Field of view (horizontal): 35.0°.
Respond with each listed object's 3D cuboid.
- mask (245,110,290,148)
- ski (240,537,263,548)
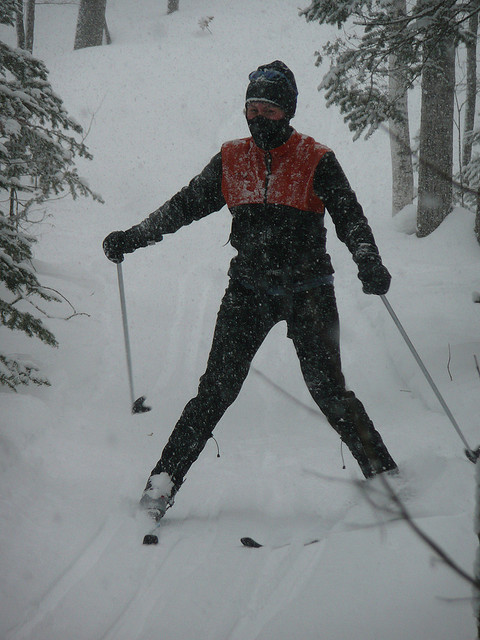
[{"bbox_3d":[0.162,-1.172,4.651,0.271,0.239,0.165,3,5,1],"label":"mask"},{"bbox_3d":[0.060,1.217,4.141,0.073,0.022,0.132,-1,7,-37],"label":"ski"}]
